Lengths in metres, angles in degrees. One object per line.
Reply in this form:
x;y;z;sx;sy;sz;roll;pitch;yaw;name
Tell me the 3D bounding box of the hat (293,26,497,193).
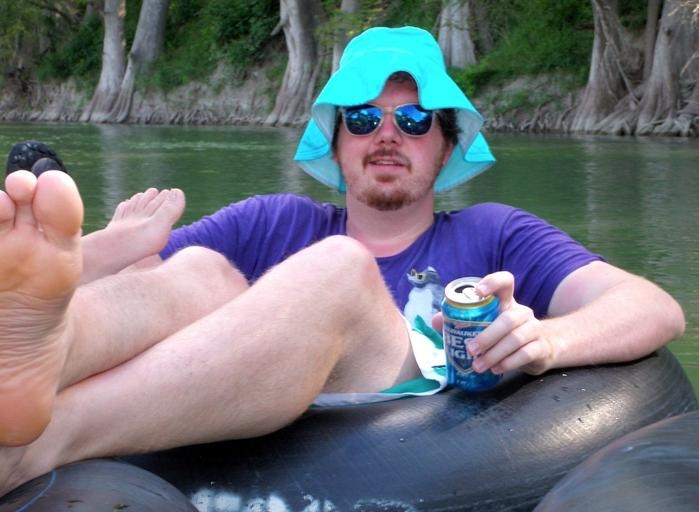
0.153;-0.612;2.646;0.568;0.314;0.579;0;1;13;hat
